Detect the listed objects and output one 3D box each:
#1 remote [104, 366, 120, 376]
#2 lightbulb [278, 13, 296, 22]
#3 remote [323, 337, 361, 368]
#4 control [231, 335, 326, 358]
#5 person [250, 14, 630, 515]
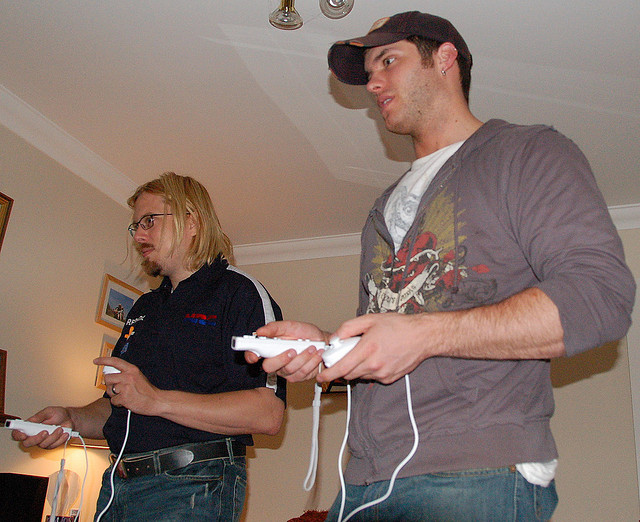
[{"bbox_3d":[-0.654,0.342,1.704,0.022,0.028,0.087,17,-27,-38],"label":"remote"},{"bbox_3d":[-0.148,-1.070,2.395,0.072,0.022,0.031,3,-21,-9],"label":"lightbulb"},{"bbox_3d":[0.037,0.181,1.113,0.081,0.043,0.044,-37,10,-7],"label":"remote"},{"bbox_3d":[-0.094,0.194,1.255,0.210,0.055,0.069,3,-21,-10],"label":"control"},{"bbox_3d":[0.301,-0.185,1.404,0.762,1.544,0.569,-15,-25,34],"label":"person"}]
